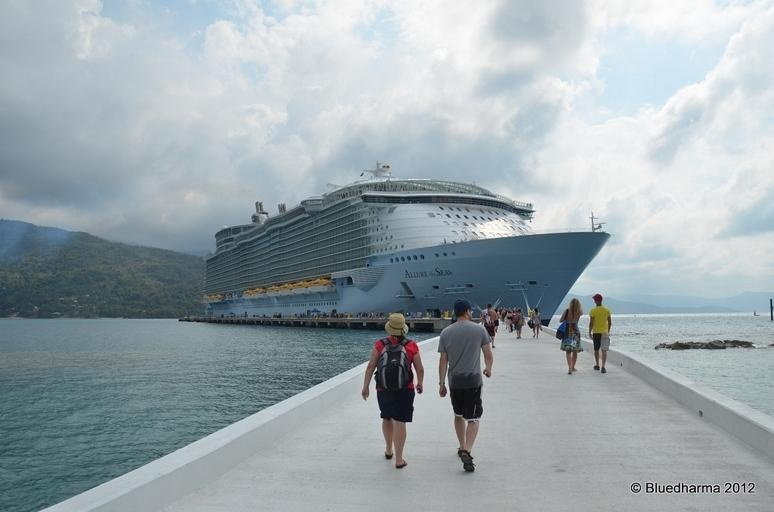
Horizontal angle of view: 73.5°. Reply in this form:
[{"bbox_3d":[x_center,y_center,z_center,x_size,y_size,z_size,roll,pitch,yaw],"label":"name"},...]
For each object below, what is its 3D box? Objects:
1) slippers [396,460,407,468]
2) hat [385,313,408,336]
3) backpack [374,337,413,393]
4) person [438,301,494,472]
[{"bbox_3d":[0.212,3.040,7.572,0.182,0.092,0.105,-3,-4,-22],"label":"slippers"},{"bbox_3d":[0.130,0.986,7.799,0.311,0.207,0.372,-7,31,4],"label":"hat"},{"bbox_3d":[0.098,1.602,7.678,0.563,0.728,0.452,-1,-1,13],"label":"backpack"},{"bbox_3d":[1.192,1.888,7.813,0.786,2.428,0.778,-5,-4,10],"label":"person"}]
